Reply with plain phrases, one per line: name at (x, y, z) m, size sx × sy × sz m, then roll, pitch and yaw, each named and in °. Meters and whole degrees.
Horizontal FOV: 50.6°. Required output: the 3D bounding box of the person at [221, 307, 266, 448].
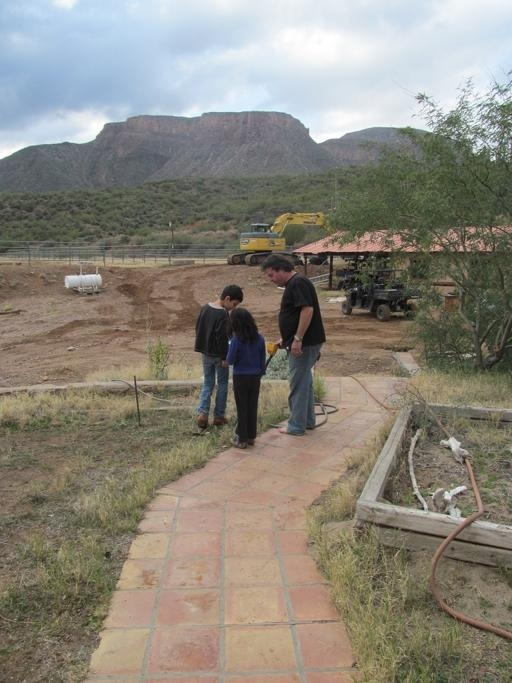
person at (-0.108, 0.301, 4.753) m, size 0.311 × 1.180 × 0.455 m, roll 1°, pitch 10°, yaw 24°

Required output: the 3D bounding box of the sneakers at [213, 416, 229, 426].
sneakers at (-0.346, 0.768, 5.392) m, size 0.054 × 0.114 × 0.161 m, roll 14°, pitch 26°, yaw 30°

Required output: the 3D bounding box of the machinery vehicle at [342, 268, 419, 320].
machinery vehicle at (4.174, -1.718, 18.932) m, size 1.380 × 1.540 × 2.634 m, roll -12°, pitch 14°, yaw -29°

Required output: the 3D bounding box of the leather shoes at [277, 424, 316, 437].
leather shoes at (0.379, 0.844, 5.032) m, size 0.341 × 0.135 × 0.127 m, roll 11°, pitch 5°, yaw 1°

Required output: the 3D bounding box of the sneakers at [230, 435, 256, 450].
sneakers at (-0.118, 0.891, 4.690) m, size 0.213 × 0.092 × 0.081 m, roll 17°, pitch 18°, yaw 41°

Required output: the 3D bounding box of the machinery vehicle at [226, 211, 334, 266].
machinery vehicle at (1.954, -6.923, 36.797) m, size 7.030 × 3.790 × 2.774 m, roll -1°, pitch 2°, yaw -15°

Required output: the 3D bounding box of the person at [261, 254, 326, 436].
person at (0.356, 0.050, 4.920) m, size 0.526 × 1.670 × 0.608 m, roll -2°, pitch 9°, yaw 7°
